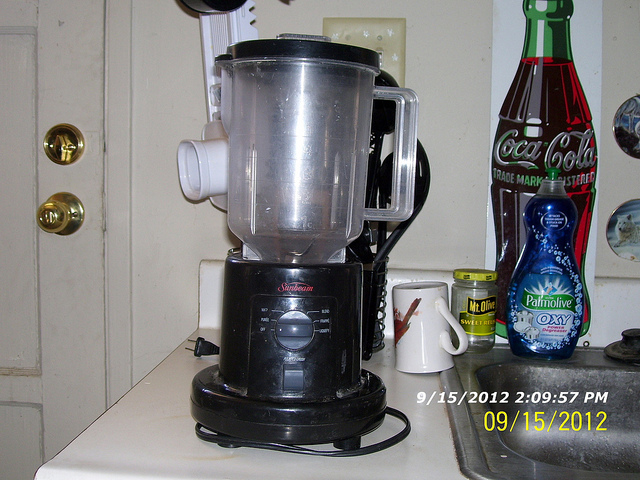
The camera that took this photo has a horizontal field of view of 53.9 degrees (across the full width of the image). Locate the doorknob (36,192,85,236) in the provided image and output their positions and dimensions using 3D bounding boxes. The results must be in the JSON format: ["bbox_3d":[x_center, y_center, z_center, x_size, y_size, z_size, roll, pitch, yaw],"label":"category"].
[{"bbox_3d":[-0.596,-0.055,1.453,0.091,0.099,0.065,0,14,-2],"label":"doorknob"}]

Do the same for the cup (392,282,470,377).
[{"bbox_3d":[0.226,0.176,1.258,0.115,0.178,0.191,-11,19,-23],"label":"cup"}]

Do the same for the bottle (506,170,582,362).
[{"bbox_3d":[0.467,0.064,1.304,0.123,0.358,0.122,0,14,0],"label":"bottle"}]

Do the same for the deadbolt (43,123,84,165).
[{"bbox_3d":[-0.587,-0.215,1.438,0.082,0.092,0.068,-3,7,-25],"label":"deadbolt"}]

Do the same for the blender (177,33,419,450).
[{"bbox_3d":[-0.024,-0.003,1.045,0.346,0.627,0.296,3,14,8],"label":"blender"}]
